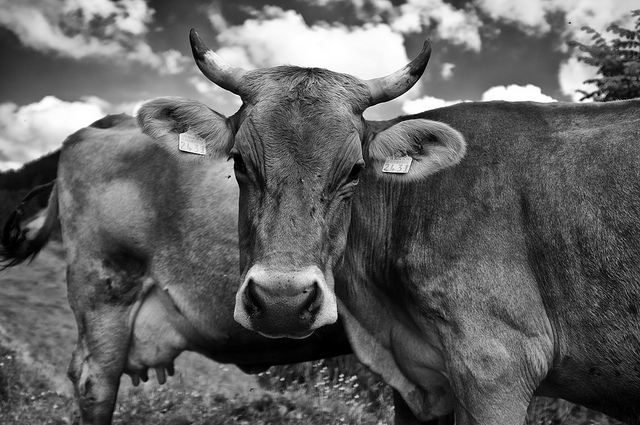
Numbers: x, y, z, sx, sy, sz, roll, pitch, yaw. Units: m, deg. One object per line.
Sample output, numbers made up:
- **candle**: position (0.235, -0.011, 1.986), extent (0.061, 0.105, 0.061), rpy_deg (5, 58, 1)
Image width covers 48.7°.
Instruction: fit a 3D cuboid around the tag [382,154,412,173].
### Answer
- **tag**: position (0.891, -0.548, 7.931), extent (0.193, 0.191, 0.019), rpy_deg (10, -18, 25)
